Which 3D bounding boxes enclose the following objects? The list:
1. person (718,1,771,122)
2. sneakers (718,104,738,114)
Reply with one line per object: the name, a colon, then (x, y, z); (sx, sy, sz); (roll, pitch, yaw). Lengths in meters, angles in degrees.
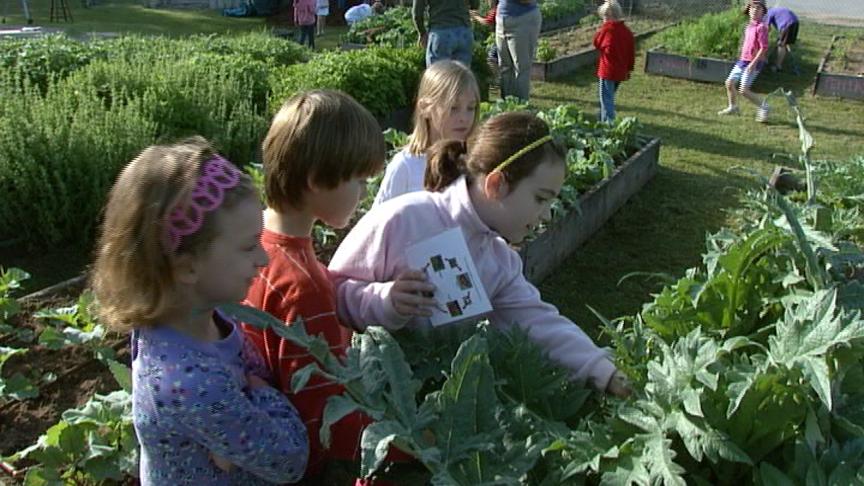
person: (5.187, -2.939, 10.518); (0.676, 1.760, 1.092); (13, 25, 20)
sneakers: (4.871, -2.173, 10.752); (0.251, 0.094, 0.220); (5, -17, 15)
